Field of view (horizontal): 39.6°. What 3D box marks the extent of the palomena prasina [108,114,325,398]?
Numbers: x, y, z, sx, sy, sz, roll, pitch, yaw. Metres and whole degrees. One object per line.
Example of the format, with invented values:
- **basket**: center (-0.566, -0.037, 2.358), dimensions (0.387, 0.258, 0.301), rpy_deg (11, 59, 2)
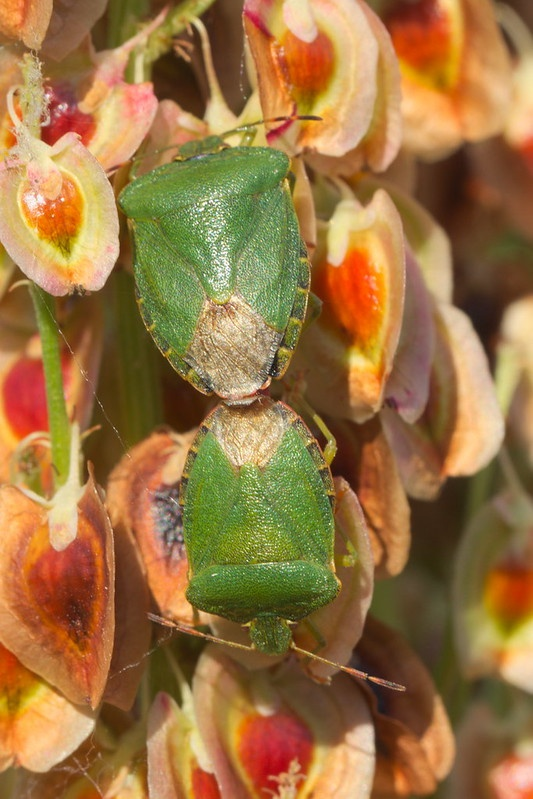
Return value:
- **palomena prasina**: center (-0.047, -0.154, 0.810), dimensions (0.236, 0.146, 0.231), rpy_deg (33, 70, 13)
